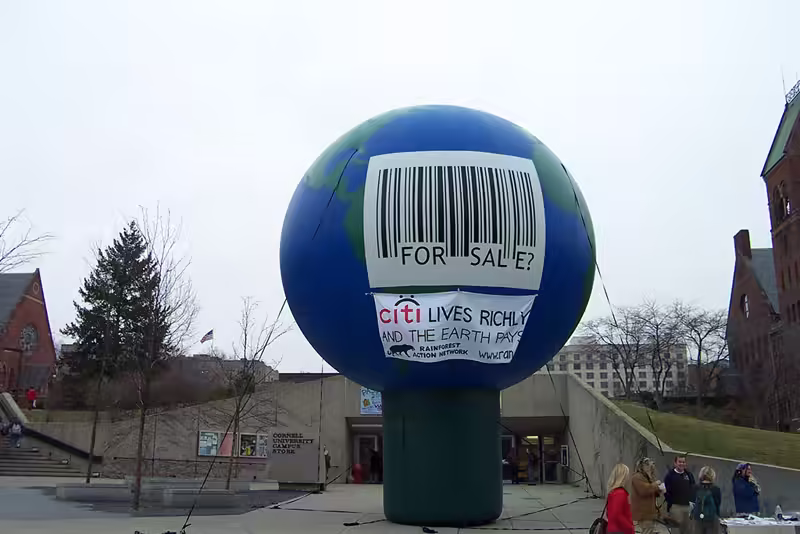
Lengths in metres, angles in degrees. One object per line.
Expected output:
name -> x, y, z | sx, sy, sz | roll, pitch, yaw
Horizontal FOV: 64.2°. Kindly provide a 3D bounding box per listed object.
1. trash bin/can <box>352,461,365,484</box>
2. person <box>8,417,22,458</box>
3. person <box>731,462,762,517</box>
trash bin/can -> -2.217, 10.938, 34.097 | 0.607, 1.142, 2.315 | 1, -18, -4
person -> -18.619, 8.364, 30.871 | 0.415, 1.696, 2.139 | 9, -19, -28
person -> 8.677, 5.549, 16.008 | 0.724, 1.230, 0.395 | 8, -17, -25
